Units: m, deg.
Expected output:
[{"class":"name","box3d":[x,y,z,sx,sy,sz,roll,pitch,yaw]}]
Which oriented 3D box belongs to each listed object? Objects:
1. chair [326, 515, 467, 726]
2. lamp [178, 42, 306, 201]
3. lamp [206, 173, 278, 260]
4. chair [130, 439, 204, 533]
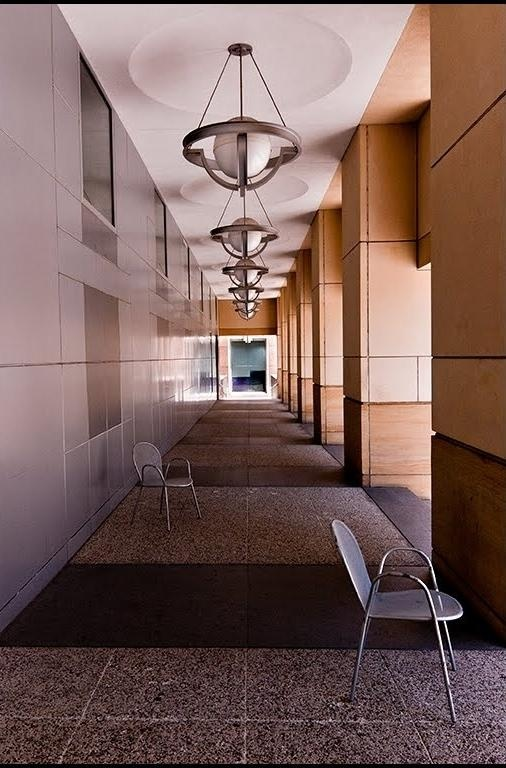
[{"class":"chair","box3d":[0.677,1.072,2.407,0.504,0.844,0.506,-4,-5,7]},{"class":"lamp","box3d":[-0.090,-2.054,3.945,0.763,1.216,0.795,-7,-8,38]},{"class":"lamp","box3d":[-0.101,-2.236,6.839,0.747,1.205,0.791,6,-6,-27]},{"class":"chair","box3d":[-0.925,1.047,5.314,0.561,0.908,0.533,-4,-2,23]}]
